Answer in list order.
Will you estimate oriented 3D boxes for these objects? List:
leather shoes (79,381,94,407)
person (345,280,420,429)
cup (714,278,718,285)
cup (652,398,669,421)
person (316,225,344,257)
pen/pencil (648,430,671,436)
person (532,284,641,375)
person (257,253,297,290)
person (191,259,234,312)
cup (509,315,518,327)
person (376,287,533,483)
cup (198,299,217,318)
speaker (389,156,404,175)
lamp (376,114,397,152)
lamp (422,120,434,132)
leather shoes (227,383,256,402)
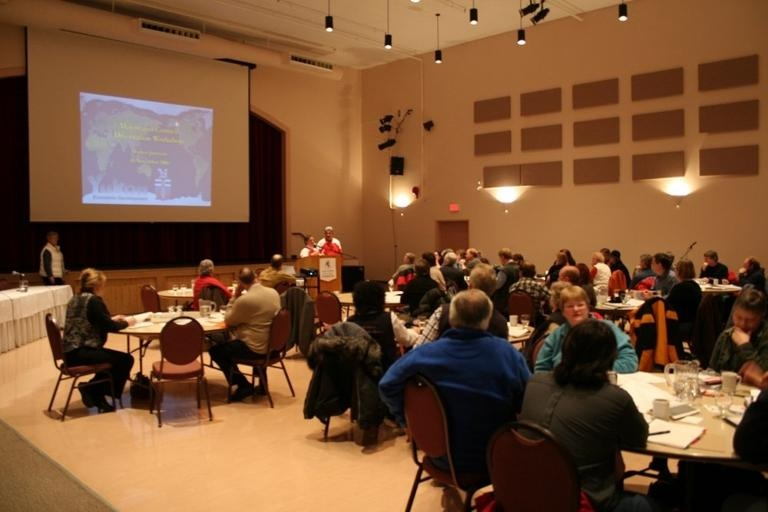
[{"bbox_3d":[-3.575,1.670,6.949,0.176,0.329,0.075,-7,10,-8],"label":"leather shoes"},{"bbox_3d":[0.022,0.909,6.526,0.951,1.435,0.738,-17,16,-35],"label":"person"},{"bbox_3d":[5.882,0.455,10.239,0.059,0.116,0.079,-6,6,-41],"label":"cup"},{"bbox_3d":[2.206,1.213,4.596,0.138,0.145,0.113,-1,0,19],"label":"cup"},{"bbox_3d":[-1.345,-0.357,13.982,0.787,0.948,0.502,0,-5,-7],"label":"person"},{"bbox_3d":[2.119,1.356,4.443,0.144,0.021,0.030,-9,11,-3],"label":"pen/pencil"},{"bbox_3d":[1.837,0.794,5.398,0.924,0.926,0.587,-11,-12,30],"label":"person"},{"bbox_3d":[-1.669,0.266,9.163,0.562,0.810,0.539,6,14,10],"label":"person"},{"bbox_3d":[-2.603,0.583,8.727,0.666,0.878,0.594,3,-13,-7],"label":"person"},{"bbox_3d":[1.575,0.775,6.922,0.147,0.141,0.128,-1,1,13],"label":"cup"},{"bbox_3d":[0.617,1.059,4.759,1.128,1.504,0.338,1,5,14],"label":"person"},{"bbox_3d":[-2.246,0.678,7.524,0.283,0.305,0.181,3,-6,-35],"label":"cup"},{"bbox_3d":[0.374,-2.471,16.108,0.470,0.651,0.429,3,3,11],"label":"speaker"},{"bbox_3d":[0.043,-3.439,16.166,0.612,0.994,0.207,3,6,33],"label":"lamp"},{"bbox_3d":[1.173,-3.463,15.463,0.354,0.297,0.148,2,5,20],"label":"lamp"},{"bbox_3d":[-1.826,1.741,7.366,0.152,0.127,0.283,-7,-5,40],"label":"leather shoes"}]
